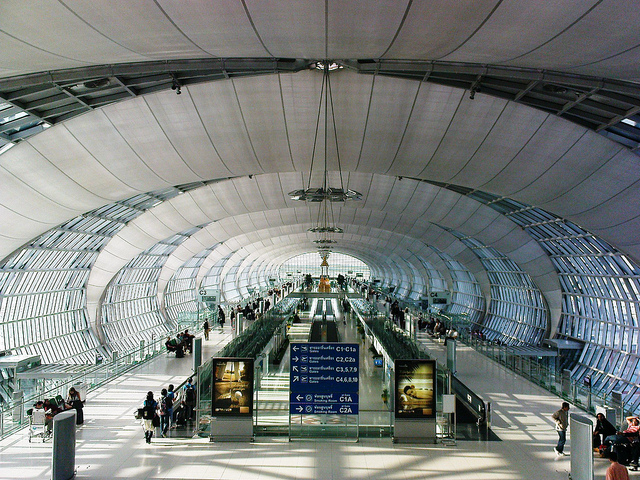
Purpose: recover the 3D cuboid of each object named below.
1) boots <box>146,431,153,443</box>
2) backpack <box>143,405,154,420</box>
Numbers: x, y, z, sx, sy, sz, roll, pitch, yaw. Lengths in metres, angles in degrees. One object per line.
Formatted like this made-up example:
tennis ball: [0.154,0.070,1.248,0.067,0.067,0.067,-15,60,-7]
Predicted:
boots: [-5.457,6.296,13.530,0.211,0.368,0.524,9,-25,-17]
backpack: [-5.358,5.386,13.255,0.363,0.413,0.391,9,-25,-18]
